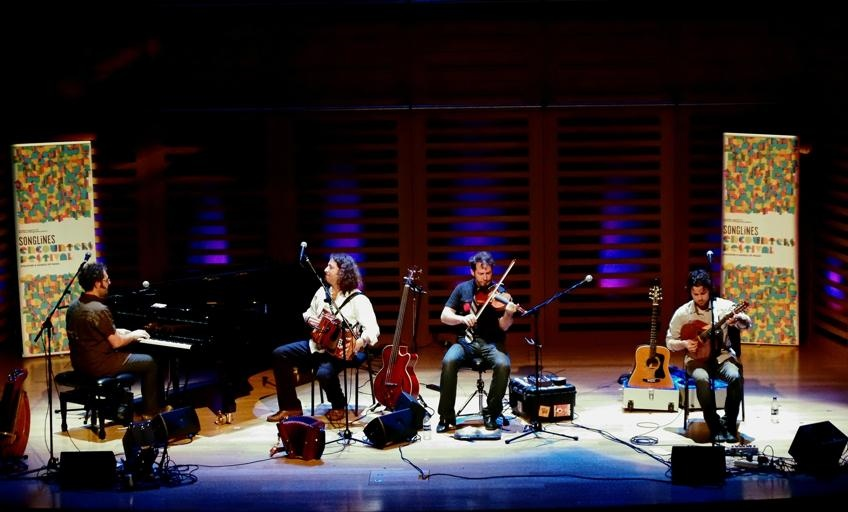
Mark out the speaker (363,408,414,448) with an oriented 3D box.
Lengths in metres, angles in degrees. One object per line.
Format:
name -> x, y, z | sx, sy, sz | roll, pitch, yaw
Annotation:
speaker -> -0.418, 2.018, 10.840 | 0.572, 0.449, 0.458 | -10, -1, -41

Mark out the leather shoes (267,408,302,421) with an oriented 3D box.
leather shoes -> -1.703, 1.935, 11.375 | 0.468, 0.165, 0.161 | 4, -6, -5

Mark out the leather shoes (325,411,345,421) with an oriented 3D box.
leather shoes -> -1.056, 1.930, 11.322 | 0.201, 0.140, 0.098 | 1, -8, -6

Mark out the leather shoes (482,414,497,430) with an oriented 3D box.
leather shoes -> 0.796, 1.964, 11.064 | 0.176, 0.191, 0.091 | -1, -8, 9

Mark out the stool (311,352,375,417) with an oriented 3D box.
stool -> -1.104, 1.570, 11.347 | 0.823, 0.844, 0.522 | -1, -8, 13

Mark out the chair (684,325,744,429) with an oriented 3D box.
chair -> 3.372, 1.420, 10.864 | 0.653, 1.216, 0.617 | 0, 0, 18

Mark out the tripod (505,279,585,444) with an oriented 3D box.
tripod -> 1.473, 1.201, 11.567 | 0.957, 2.151, 0.688 | 2, -5, -13

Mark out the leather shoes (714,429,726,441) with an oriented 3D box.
leather shoes -> 3.386, 2.062, 10.724 | 0.099, 0.122, 0.065 | 4, -8, -25

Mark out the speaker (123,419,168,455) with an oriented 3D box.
speaker -> -3.084, 1.993, 10.431 | 0.491, 0.457, 0.328 | -9, 42, -21

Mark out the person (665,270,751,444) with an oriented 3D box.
person -> 3.327, 1.116, 10.976 | 0.921, 2.034, 0.791 | 0, -3, 10

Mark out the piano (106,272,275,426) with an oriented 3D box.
piano -> -2.919, 1.284, 12.324 | 2.445, 1.964, 1.645 | 0, -8, -2

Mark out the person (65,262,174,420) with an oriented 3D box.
person -> -3.650, 1.007, 11.395 | 1.011, 1.979, 0.945 | 0, 1, 3

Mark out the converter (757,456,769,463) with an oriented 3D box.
converter -> 3.723, 2.243, 10.299 | 0.090, 0.019, 0.085 | -3, 11, 5

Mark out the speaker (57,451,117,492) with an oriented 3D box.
speaker -> -3.610, 2.280, 10.102 | 0.757, 0.459, 0.389 | 1, -5, -5

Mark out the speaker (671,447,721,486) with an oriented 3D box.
speaker -> 2.946, 2.180, 10.175 | 0.742, 0.443, 0.387 | 0, -7, 3

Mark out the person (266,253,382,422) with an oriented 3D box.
person -> -1.120, 0.998, 11.604 | 1.105, 2.146, 1.138 | 0, 0, 30

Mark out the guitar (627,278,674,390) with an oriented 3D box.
guitar -> 2.782, 1.056, 11.493 | 0.485, 1.560, 0.567 | -1, -4, 5

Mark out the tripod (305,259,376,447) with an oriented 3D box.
tripod -> -0.831, 1.200, 11.652 | 1.041, 2.373, 0.709 | 0, 0, 40

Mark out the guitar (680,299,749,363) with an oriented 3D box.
guitar -> 3.333, 0.873, 10.958 | 0.933, 0.450, 0.135 | -48, -22, 25
